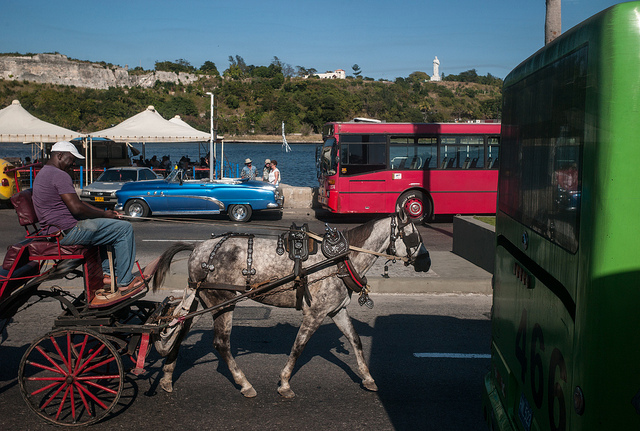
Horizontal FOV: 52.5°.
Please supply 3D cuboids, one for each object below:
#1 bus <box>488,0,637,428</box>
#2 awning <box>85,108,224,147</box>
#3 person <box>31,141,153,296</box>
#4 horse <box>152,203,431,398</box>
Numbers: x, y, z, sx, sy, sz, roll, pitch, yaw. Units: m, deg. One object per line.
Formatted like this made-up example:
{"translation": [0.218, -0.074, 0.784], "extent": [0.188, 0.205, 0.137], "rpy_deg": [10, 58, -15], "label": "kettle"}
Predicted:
{"translation": [1.973, 0.289, 5.380], "extent": [0.615, 3.839, 1.952], "rpy_deg": [1, 9, 2], "label": "bus"}
{"translation": [-7.298, -3.919, 28.656], "extent": [4.441, 1.470, 2.900], "rpy_deg": [-2, 10, -12], "label": "awning"}
{"translation": [-2.696, 0.025, 7.559], "extent": [1.228, 1.743, 0.749], "rpy_deg": [-3, 10, -17], "label": "person"}
{"translation": [-0.352, 1.073, 7.920], "extent": [3.309, 2.490, 0.858], "rpy_deg": [0, 12, -1], "label": "horse"}
